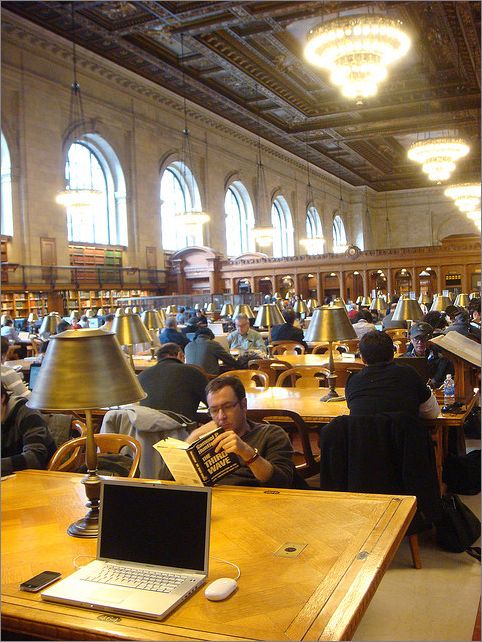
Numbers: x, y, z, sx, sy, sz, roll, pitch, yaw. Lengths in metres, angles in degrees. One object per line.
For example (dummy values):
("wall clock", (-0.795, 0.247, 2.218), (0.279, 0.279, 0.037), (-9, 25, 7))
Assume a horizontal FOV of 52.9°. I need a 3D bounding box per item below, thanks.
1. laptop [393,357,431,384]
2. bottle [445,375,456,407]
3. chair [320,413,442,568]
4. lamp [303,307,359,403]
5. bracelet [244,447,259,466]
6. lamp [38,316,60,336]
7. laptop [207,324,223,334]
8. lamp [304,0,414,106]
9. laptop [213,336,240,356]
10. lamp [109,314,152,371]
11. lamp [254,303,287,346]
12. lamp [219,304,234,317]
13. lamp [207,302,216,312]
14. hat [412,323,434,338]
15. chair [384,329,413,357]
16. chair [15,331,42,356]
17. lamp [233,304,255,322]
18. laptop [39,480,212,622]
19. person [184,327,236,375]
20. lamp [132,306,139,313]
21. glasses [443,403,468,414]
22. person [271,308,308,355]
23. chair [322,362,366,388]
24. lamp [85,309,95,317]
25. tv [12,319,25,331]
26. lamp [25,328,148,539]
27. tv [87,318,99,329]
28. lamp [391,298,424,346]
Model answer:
("laptop", (1.337, 0.353, 3.838), (0.327, 0.287, 0.227), (1, 9, 15))
("bottle", (1.462, 0.483, 3.404), (0.060, 0.203, 0.277), (-3, -1, 25))
("chair", (0.816, 0.917, 2.975), (0.803, 0.973, 0.719), (-5, 9, -4))
("lamp", (0.657, 0.247, 3.560), (0.374, 0.681, 0.384), (-3, 0, 45))
("bracelet", (0.042, 0.526, 1.855), (0.049, 0.069, 0.094), (-3, 0, 2))
("lamp", (-3.054, 0.083, 7.751), (0.454, 0.418, 0.441), (1, 1, -18))
("laptop", (-0.548, 0.168, 10.607), (0.280, 0.254, 0.273), (-2, -3, 7))
("lamp", (2.262, -4.847, 9.362), (2.066, 2.041, 1.174), (16, -28, 16))
("laptop", (-0.226, 0.361, 7.491), (0.288, 0.245, 0.378), (-9, 10, -40))
("lamp", (-1.075, 0.220, 4.697), (0.184, 0.266, 0.182), (-18, 4, 33))
("lamp", (0.357, -0.034, 6.306), (0.376, 0.540, 0.361), (-1, -1, 1))
("lamp", (-0.320, -0.226, 10.577), (0.296, 0.265, 0.288), (0, 0, 3))
("lamp", (-0.836, -0.390, 13.850), (0.253, 0.235, 0.258), (-1, -1, 36))
("hat", (1.807, 0.096, 4.828), (0.189, 0.132, 0.305), (-1, -9, 16))
("chair", (1.839, 0.254, 5.646), (0.319, 0.386, 0.396), (3, 12, 20))
("chair", (-4.303, 0.475, 9.884), (0.564, 0.379, 0.396), (3, 2, 24))
("lamp", (0.041, -0.097, 7.146), (0.301, 0.277, 0.293), (-1, -2, 1))
("laptop", (-0.250, 0.514, 1.122), (0.346, 0.203, 0.305), (0, -8, 1))
("person", (-0.407, 0.402, 6.435), (0.429, 0.906, 0.412), (6, 39, 12))
("lamp", (-2.498, -0.276, 11.546), (0.146, 0.188, 0.261), (1, 0, 2))
("glasses", (1.409, 0.583, 3.230), (0.194, 0.076, 0.064), (1, -1, -4))
("person", (0.767, 0.257, 7.826), (0.617, 0.905, 0.464), (3, 7, 14))
("chair", (1.049, 0.524, 4.949), (0.301, 0.357, 0.324), (2, 9, 7))
("lamp", (-3.495, -0.178, 11.260), (0.174, 0.172, 0.306), (-4, -5, -10))
("tv", (-5.561, 0.110, 12.172), (0.318, 0.290, 0.178), (0, 0, 1))
("lamp", (-0.508, 0.367, 1.636), (0.379, 0.649, 0.372), (-5, -2, 19))
("tv", (-3.394, 0.058, 11.174), (0.237, 0.222, 0.119), (1, 5, 6))
("lamp", (2.208, 0.006, 6.265), (0.583, 0.577, 0.589), (-1, 0, 4))
